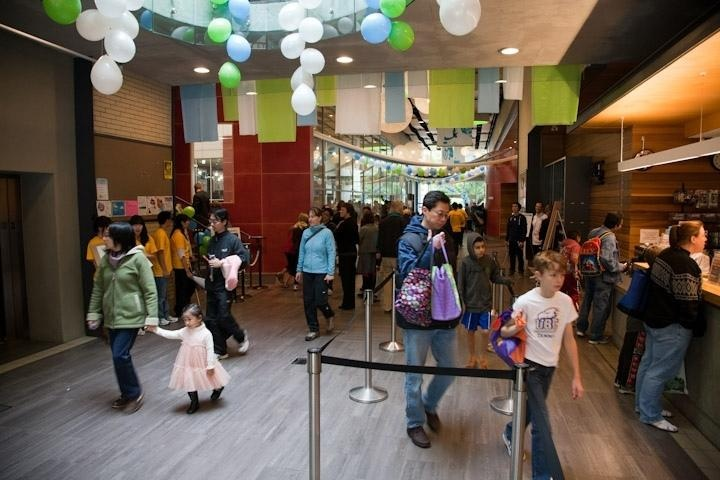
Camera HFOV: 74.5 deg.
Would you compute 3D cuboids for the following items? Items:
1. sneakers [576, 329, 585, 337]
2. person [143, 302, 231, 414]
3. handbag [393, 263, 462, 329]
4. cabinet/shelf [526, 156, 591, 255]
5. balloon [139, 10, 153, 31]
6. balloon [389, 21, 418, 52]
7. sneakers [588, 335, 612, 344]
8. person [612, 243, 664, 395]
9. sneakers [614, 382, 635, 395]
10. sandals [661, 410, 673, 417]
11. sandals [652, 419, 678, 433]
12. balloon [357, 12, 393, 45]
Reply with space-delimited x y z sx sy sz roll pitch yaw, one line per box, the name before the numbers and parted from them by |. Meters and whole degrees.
sneakers | 3.760 1.585 8.053 0.116 0.088 0.118 2 -8 7
person | -2.051 1.456 5.843 0.544 1.283 0.617 3 9 37
handbag | 0.711 0.593 4.976 0.705 0.739 0.352 1 8 -8
cabinet/shelf | 5.085 -0.939 11.963 0.825 3.008 2.721 1 -7 8
balloon | -3.071 -3.192 6.888 0.214 0.260 0.220 -2 37 -24
balloon | 0.603 -2.800 6.456 0.239 0.556 0.262 -18 -37 0
sneakers | 3.899 1.637 7.686 0.352 0.169 0.137 -2 7 -8
person | 3.809 1.140 6.665 0.605 0.555 2.228 -3 51 33
sneakers | 3.457 1.936 6.168 0.095 0.114 0.255 -4 0 -35
sandals | 3.670 2.077 5.667 0.151 0.062 0.082 -7 18 8
sandals | 3.526 2.130 5.437 0.268 0.103 0.178 -4 7 -12
balloon | 0.246 -2.657 6.097 0.377 0.395 0.443 -11 4 29
